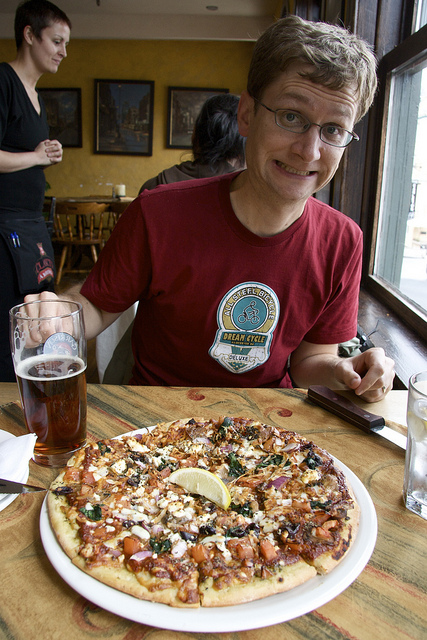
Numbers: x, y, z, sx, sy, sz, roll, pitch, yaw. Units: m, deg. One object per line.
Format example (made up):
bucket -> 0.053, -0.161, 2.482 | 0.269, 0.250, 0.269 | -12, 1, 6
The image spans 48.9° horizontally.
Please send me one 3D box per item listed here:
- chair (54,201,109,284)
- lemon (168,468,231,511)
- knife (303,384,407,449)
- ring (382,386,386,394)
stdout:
chair -> -1.633, -0.973, 5.797 | 0.667, 0.985, 0.732 | 6, 12, 33
lemon -> -0.017, 0.215, 0.619 | 0.097, 0.028, 0.025 | 12, 17, 35
knife -> 0.247, 0.168, 0.886 | 0.056, 0.029, 0.281 | -10, 18, -20
ring -> 0.342, 0.141, 0.946 | 0.009, 0.011, 0.012 | 14, -22, 6
